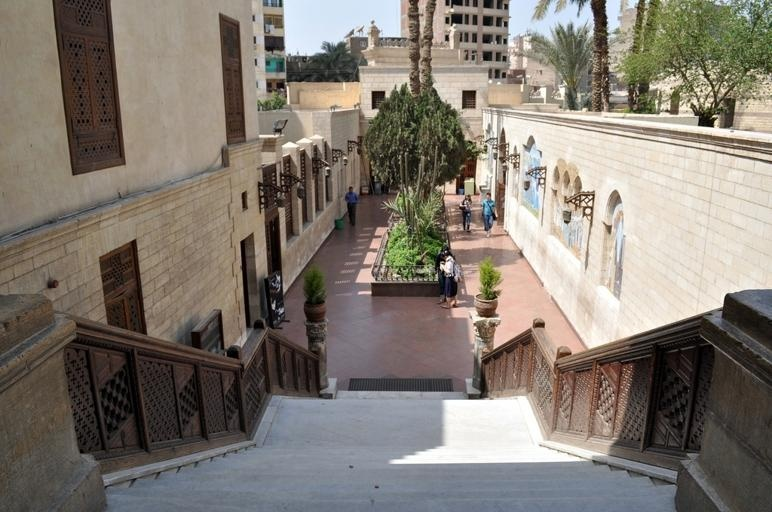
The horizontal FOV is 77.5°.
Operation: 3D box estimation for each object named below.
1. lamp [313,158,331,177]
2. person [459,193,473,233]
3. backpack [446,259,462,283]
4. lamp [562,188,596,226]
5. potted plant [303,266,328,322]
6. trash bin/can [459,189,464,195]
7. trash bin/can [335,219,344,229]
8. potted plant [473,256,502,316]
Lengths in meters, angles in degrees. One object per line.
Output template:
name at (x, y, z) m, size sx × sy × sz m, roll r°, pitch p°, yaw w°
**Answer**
lamp at (-2.586, -3.595, 19.105) m, size 0.586 × 0.817 × 0.570 m, roll 3°, pitch 14°, yaw 15°
person at (3.613, -2.021, 21.881) m, size 0.388 × 1.872 × 1.414 m, roll -1°, pitch -9°, yaw 12°
backpack at (1.920, 0.415, 13.759) m, size 0.298 × 0.546 × 0.559 m, roll -3°, pitch 27°, yaw 0°
lamp at (4.546, -1.187, 11.269) m, size 0.741 × 1.070 × 0.730 m, roll 2°, pitch 10°, yaw 13°
potted plant at (-1.367, 0.726, 9.355) m, size 0.398 × 1.102 × 0.553 m, roll 2°, pitch -9°, yaw -10°
trash bin/can at (4.707, -4.129, 30.192) m, size 0.289 × 0.341 × 0.301 m, roll 4°, pitch 19°, yaw 11°
trash bin/can at (-2.112, -1.534, 21.983) m, size 0.373 × 0.377 × 0.384 m, roll 0°, pitch 5°, yaw -2°
potted plant at (1.918, 0.634, 9.227) m, size 0.474 × 0.963 × 0.597 m, roll -14°, pitch 19°, yaw -40°
